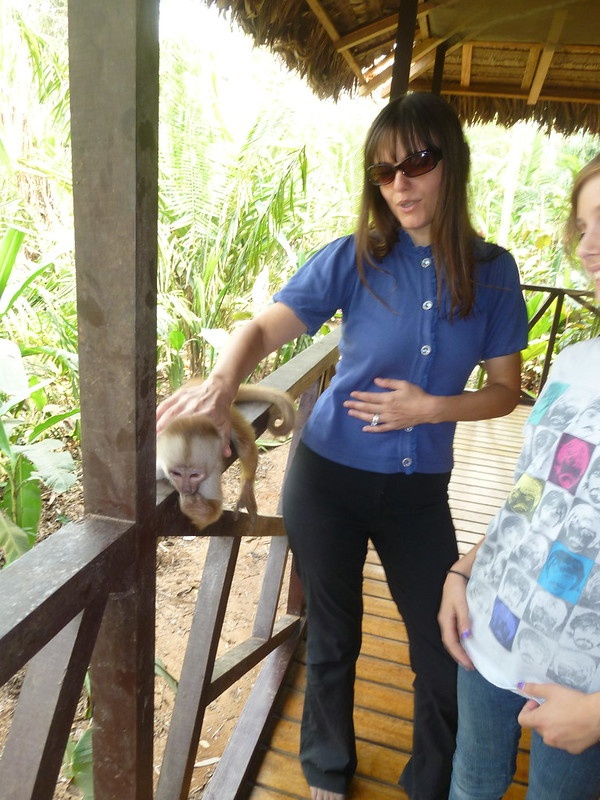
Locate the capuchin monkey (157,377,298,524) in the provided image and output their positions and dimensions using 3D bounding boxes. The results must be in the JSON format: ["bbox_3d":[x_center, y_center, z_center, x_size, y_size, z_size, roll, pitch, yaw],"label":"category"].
[{"bbox_3d":[-0.169,0.136,1.332,0.251,0.294,0.540,10,19,3],"label":"capuchin monkey"}]

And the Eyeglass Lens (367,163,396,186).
[{"bbox_3d":[0.222,-0.623,1.523,0.069,0.026,0.068,-12,15,-31],"label":"Eyeglass Lens"}]

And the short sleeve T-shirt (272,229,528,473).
[{"bbox_3d":[0.284,-0.177,1.651,0.727,0.731,0.361,5,13,-5],"label":"short sleeve T-shirt"}]
